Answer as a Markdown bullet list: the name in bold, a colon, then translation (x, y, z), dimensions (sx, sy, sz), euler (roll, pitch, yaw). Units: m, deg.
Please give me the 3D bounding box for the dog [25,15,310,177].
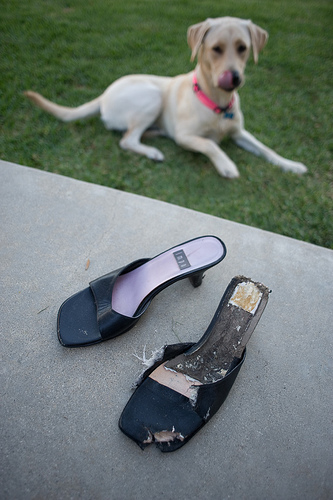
- **dog**: translation (-0.014, -0.909, 2.458), dimensions (1.568, 0.803, 0.525), euler (12, 38, 16)
